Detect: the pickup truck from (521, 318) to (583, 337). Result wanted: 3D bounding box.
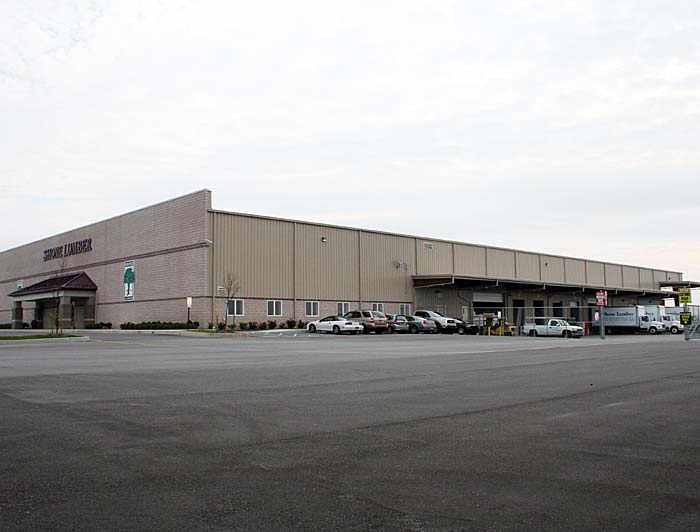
[{"bbox_3d":[16.192,5.029,46.985,3.766,1.448,2.072,-7,-7,37],"label":"pickup truck"}]

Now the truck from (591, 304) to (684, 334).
[{"bbox_3d":[29.325,5.473,59.197,12.286,2.985,4.640,5,-10,-42],"label":"truck"}]
